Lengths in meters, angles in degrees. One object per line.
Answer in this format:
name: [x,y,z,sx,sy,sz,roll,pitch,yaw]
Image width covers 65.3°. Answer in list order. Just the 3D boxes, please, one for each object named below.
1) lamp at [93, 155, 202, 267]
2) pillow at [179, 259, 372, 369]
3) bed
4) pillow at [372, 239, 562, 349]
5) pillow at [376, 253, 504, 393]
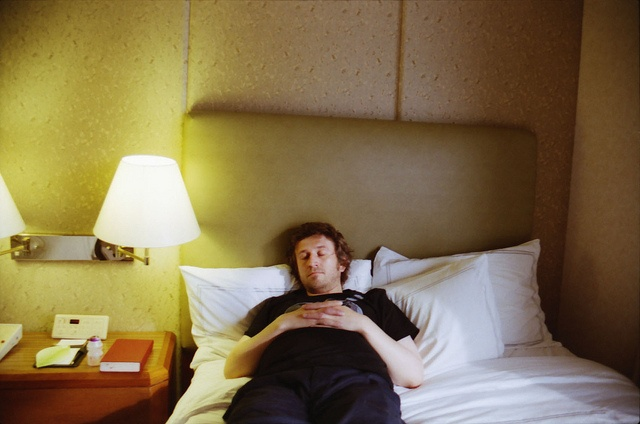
lamp: [-0.881,-0.026,2.766,0.527,0.484,0.502,2,16,-4]
pillow: [-0.458,0.568,2.678,1.018,0.551,0.265,-5,-17,0]
bed: [0.368,0.308,2.744,1.823,1.627,0.711,1,7,-5]
pillow: [1.015,0.453,2.950,0.715,0.665,0.202,-6,-15,-15]
pillow: [0.671,0.590,2.838,0.674,0.610,0.195,-20,-7,-11]
